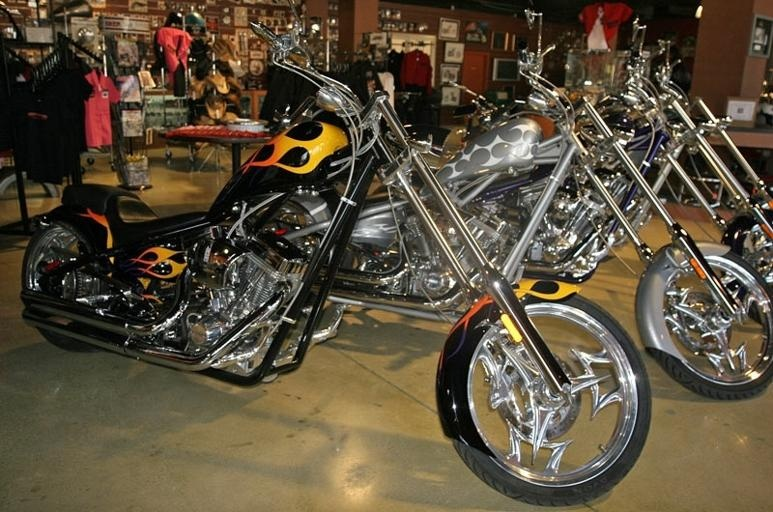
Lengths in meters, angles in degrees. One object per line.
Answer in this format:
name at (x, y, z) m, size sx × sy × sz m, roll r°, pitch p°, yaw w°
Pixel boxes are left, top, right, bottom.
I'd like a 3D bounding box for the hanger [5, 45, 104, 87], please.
hanger at (-3.231, -1.801, 4.998) m, size 1.011 × 0.242 × 0.625 m, roll 2°, pitch 23°, yaw 4°
